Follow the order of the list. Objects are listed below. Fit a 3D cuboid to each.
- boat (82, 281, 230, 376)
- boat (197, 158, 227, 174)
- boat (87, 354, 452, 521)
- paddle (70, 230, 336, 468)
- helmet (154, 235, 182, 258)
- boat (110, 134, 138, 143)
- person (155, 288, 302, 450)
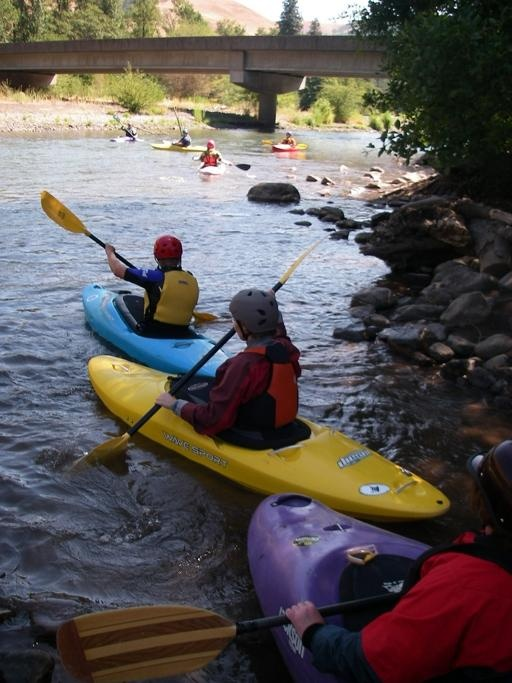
[{"bbox_3d":[-0.817,-0.067,5.187,0.526,0.291,1.540,-11,24,-35],"label":"boat"},{"bbox_3d":[-1.057,-4.210,16.807,0.558,0.373,1.134,5,9,2],"label":"boat"},{"bbox_3d":[-0.112,0.591,3.671,2.281,0.334,0.667,18,12,29],"label":"boat"},{"bbox_3d":[-0.393,0.033,4.742,3.214,0.343,0.081,-39,41,-19],"label":"paddle"},{"bbox_3d":[-0.596,-0.658,4.755,0.157,0.155,0.180,-3,19,-11],"label":"helmet"},{"bbox_3d":[-4.205,-6.568,22.349,0.533,0.224,0.889,7,12,37],"label":"boat"},{"bbox_3d":[-0.030,0.137,3.363,0.488,0.817,0.482,0,13,-28],"label":"person"}]
